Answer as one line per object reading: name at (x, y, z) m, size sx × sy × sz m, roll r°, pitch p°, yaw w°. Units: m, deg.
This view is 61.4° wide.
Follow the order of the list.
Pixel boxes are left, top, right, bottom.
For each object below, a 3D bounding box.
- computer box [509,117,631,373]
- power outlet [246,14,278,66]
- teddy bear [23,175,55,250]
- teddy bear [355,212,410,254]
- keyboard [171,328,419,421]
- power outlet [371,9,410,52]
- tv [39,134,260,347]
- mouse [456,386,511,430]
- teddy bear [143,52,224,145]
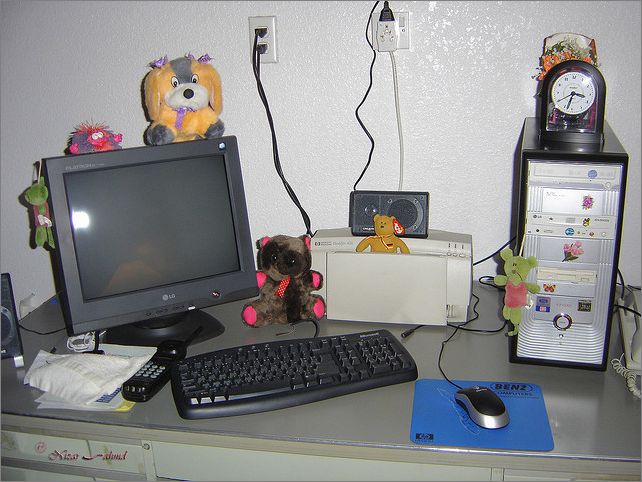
computer box at (0.554, 0.001, 1.402) m, size 0.231 × 0.609 × 0.356 m, roll 0°, pitch 11°, yaw 13°
power outlet at (-0.175, -0.601, 1.600) m, size 0.133 × 0.188 × 0.031 m, roll 1°, pitch 19°, yaw 7°
teddy bear at (-0.767, -0.069, 1.460) m, size 0.081 × 0.182 × 0.061 m, roll -2°, pitch 7°, yaw 0°
teddy bear at (0.172, 0.005, 1.503) m, size 0.142 × 0.145 × 0.087 m, roll 4°, pitch 26°, yaw 9°
keyboard at (-0.062, 0.327, 1.324) m, size 0.576 × 0.083 × 0.229 m, roll -8°, pitch 22°, yaw -14°
power outlet at (0.204, -0.589, 1.544) m, size 0.156 × 0.154 × 0.087 m, roll 0°, pitch 18°, yaw 6°
tv at (-0.474, -0.005, 1.546) m, size 0.517 × 0.548 × 0.310 m, roll -11°, pitch 19°, yaw -22°
mouse at (0.358, 0.362, 1.180) m, size 0.104 × 0.069 × 0.113 m, roll 1°, pitch 16°, yaw 1°
teddy bear at (-0.402, -0.415, 1.573) m, size 0.219 × 0.248 × 0.157 m, roll -5°, pitch 12°, yaw -10°
